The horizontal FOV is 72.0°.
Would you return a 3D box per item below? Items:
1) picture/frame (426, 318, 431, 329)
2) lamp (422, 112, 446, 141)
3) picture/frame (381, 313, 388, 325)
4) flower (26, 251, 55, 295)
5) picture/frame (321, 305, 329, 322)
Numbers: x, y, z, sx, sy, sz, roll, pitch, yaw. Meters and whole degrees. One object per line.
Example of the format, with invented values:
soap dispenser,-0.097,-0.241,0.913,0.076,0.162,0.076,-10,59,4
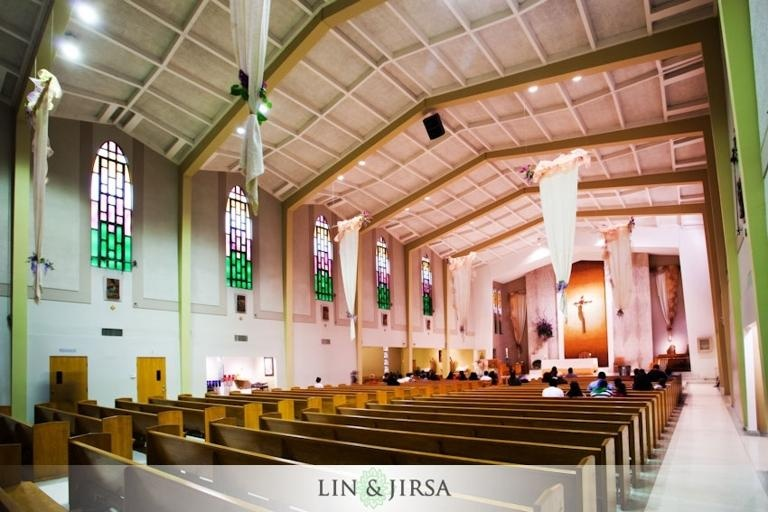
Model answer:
picture/frame,2.254,3.536,27.052,0.073,0.561,0.557,-9,-15,27
lamp,1.517,-4.026,16.223,0.562,0.818,0.596,-9,-15,26
picture/frame,-0.039,2.907,23.907,0.036,0.534,0.536,-7,-11,32
flower,-8.629,0.433,13.307,0.509,0.786,0.309,19,14,-23
picture/frame,-2.363,2.339,20.935,0.078,0.578,0.592,-11,-17,32
